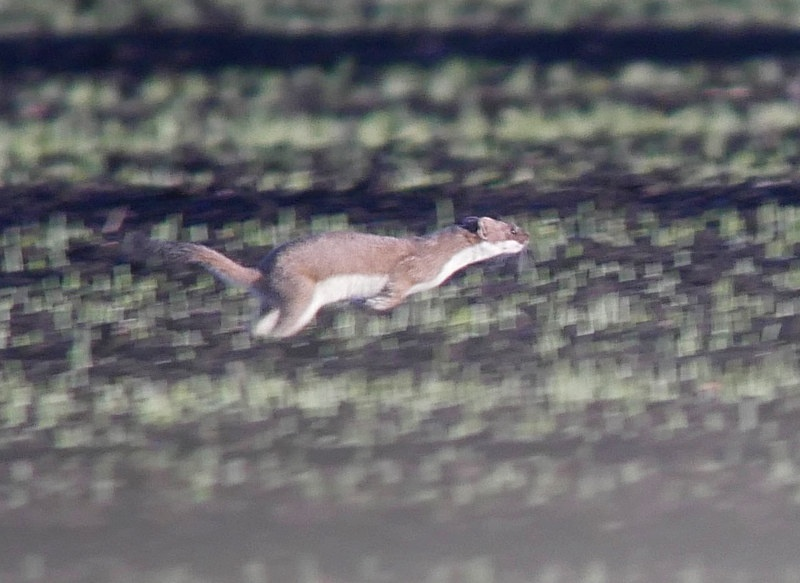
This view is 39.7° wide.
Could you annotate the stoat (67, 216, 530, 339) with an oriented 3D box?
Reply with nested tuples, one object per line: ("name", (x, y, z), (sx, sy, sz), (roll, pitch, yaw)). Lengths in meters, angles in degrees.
("stoat", (-0.104, -0.028, 1.537), (0.615, 0.117, 0.103), (-2, 17, 6))
